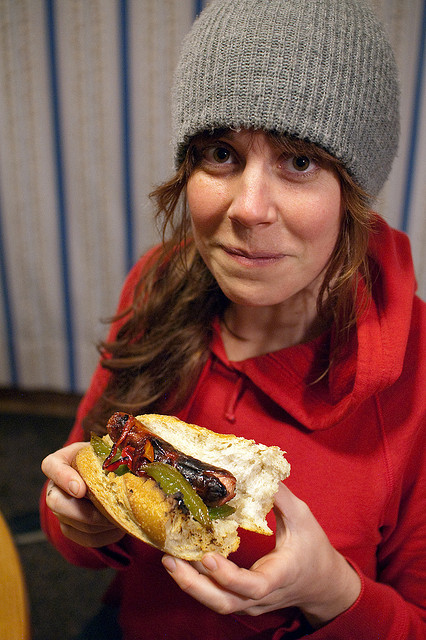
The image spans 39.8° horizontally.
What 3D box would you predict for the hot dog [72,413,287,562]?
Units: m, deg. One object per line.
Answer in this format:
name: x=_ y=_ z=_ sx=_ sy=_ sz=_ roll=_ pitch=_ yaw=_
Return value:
hot dog: x=-0.102 y=0.332 z=1.255 sx=0.437 sy=0.147 sz=0.313 roll=15 pitch=26 yaw=28
